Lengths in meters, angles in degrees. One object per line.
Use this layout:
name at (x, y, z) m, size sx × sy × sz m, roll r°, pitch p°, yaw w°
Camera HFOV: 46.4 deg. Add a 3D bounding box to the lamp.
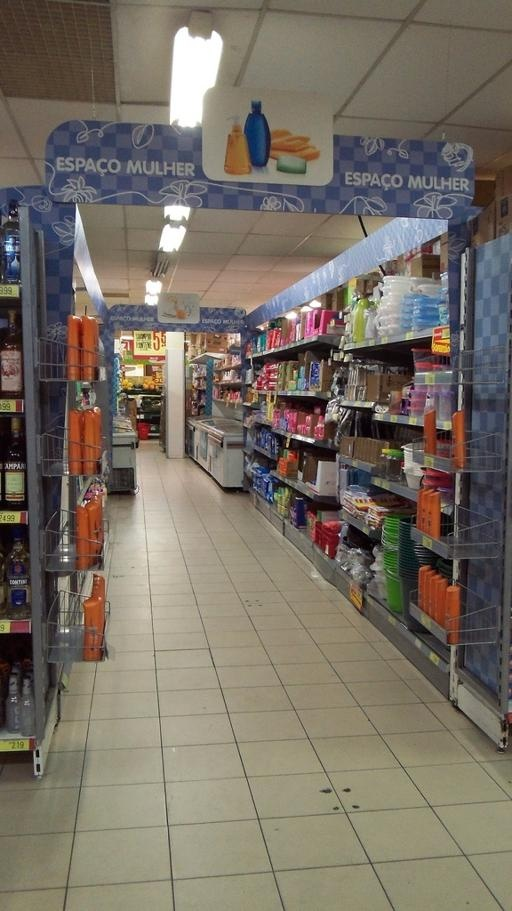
lamp at (-0.483, -1.854, 3.927) m, size 0.201 × 1.696 × 0.181 m, roll 4°, pitch 16°, yaw -3°
